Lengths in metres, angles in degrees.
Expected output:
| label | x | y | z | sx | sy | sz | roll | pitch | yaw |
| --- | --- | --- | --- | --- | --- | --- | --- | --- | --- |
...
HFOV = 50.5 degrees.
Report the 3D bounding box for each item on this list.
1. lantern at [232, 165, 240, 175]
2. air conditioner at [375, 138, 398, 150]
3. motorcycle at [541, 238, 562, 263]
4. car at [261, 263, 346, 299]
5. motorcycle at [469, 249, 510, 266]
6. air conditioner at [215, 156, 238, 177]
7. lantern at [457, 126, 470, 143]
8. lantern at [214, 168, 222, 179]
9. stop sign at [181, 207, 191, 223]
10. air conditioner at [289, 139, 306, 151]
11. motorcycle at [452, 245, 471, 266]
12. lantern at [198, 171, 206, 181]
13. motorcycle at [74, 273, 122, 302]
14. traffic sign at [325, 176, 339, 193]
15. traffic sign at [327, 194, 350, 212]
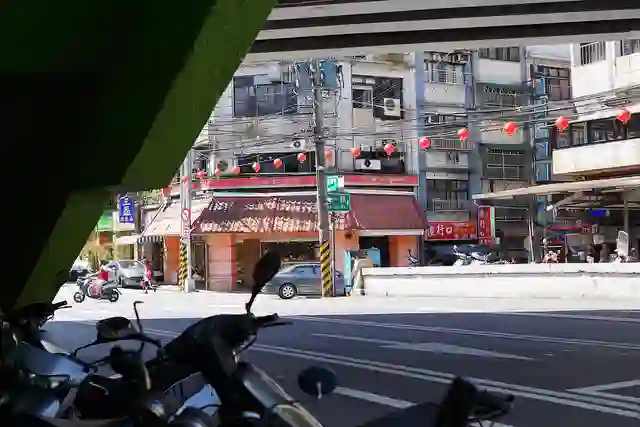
| label | x | y | z | sx | sy | sz | roll | pitch | yaw |
| --- | --- | --- | --- | --- | --- | --- | --- | --- | --- |
| lantern | -3.613 | -1.944 | 29.751 | 0.218 | 0.436 | 0.354 | -1 | -3 | -30 |
| air conditioner | 3.304 | -3.498 | 33.669 | 0.806 | 0.361 | 0.571 | 0 | -1 | -16 |
| motorcycle | 10.719 | 1.608 | 31.249 | 1.017 | 1.061 | 2.432 | 13 | 11 | 18 |
| car | -0.832 | 2.470 | 25.148 | 3.459 | 1.172 | 1.562 | -2 | -1 | -16 |
| motorcycle | 6.783 | 1.811 | 28.131 | 0.961 | 0.473 | 13.868 | -5 | -4 | 12 |
| air conditioner | -4.414 | -2.303 | 32.227 | 1.307 | 1.285 | 0.749 | 0 | -11 | -7 |
| lantern | 4.532 | -2.532 | 21.388 | 0.507 | 0.636 | 0.535 | 3 | 8 | 13 |
| lantern | -4.567 | -1.869 | 30.465 | 0.186 | 0.370 | 0.295 | 4 | -1 | -32 |
| stop sign | -5.484 | 0.001 | 27.772 | 0.608 | 0.733 | 0.093 | 0 | -1 | -14 |
| air conditioner | -1.056 | -3.323 | 32.471 | 0.808 | 0.706 | 0.447 | 0 | -2 | -2 |
| motorcycle | 5.932 | 1.648 | 28.279 | 0.649 | 0.796 | 13.752 | -4 | -4 | 11 |
| lantern | -5.649 | -1.857 | 32.461 | 0.399 | 0.411 | 0.304 | 14 | 5 | -39 |
| motorcycle | -7.853 | 2.667 | 23.964 | 1.857 | 1.133 | 0.821 | 2 | -12 | 13 |
| traffic sign | 0.486 | -1.071 | 24.004 | 0.743 | 0.598 | 0.266 | -7 | -5 | 39 |
| traffic sign | 0.696 | -0.398 | 23.948 | 0.910 | 0.678 | 0.519 | 2 | -8 | 1 |
